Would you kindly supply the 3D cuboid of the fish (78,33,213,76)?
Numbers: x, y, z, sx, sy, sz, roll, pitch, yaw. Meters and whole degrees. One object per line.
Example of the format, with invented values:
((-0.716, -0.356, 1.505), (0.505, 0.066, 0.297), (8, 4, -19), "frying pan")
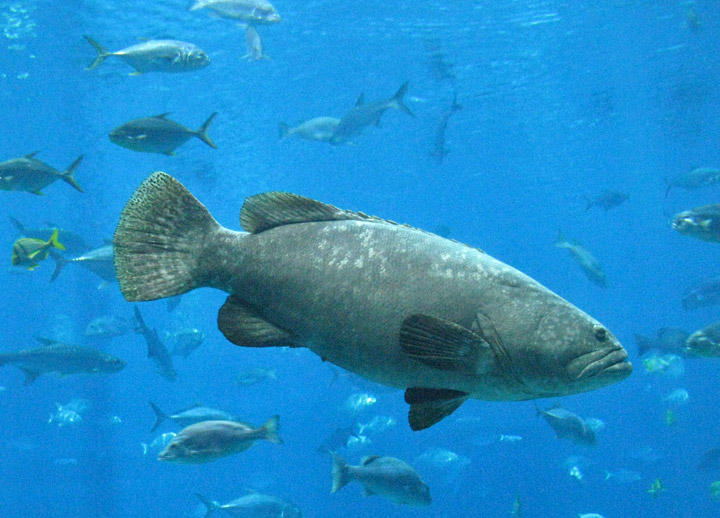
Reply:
((-9.914, -9.810, 48.142), (4.930, 1.630, 0.962), (-3, 27, -3), "fish")
